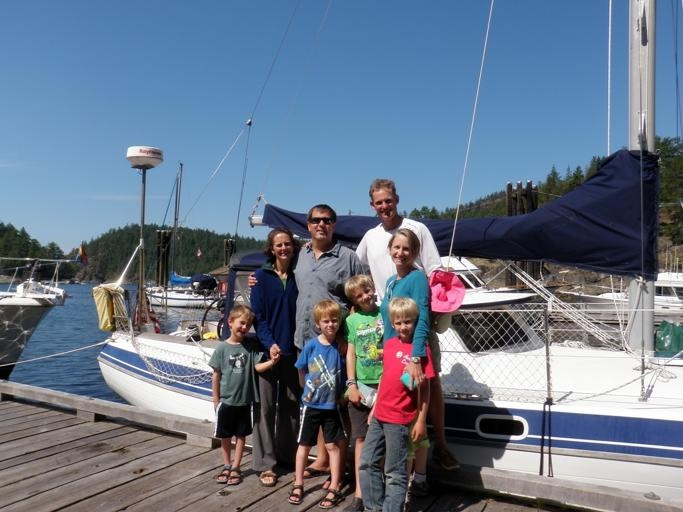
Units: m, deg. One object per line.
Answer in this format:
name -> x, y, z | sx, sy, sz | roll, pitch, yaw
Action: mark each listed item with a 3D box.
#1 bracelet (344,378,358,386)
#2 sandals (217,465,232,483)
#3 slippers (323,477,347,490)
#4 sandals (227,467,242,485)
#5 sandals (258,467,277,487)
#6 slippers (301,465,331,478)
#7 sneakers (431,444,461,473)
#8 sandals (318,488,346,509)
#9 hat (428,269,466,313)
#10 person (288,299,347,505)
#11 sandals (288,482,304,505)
bracelet -> 0.088, 1.048, 4.739 | 0.086, 0.060, 0.068 | -2, 9, 4
sandals -> -1.040, 1.943, 5.043 | 0.071, 0.089, 0.215 | 0, -10, 2
slippers -> -0.055, 1.969, 4.937 | 0.089, 0.123, 0.301 | -3, -19, 15
sandals -> -0.950, 1.931, 5.033 | 0.125, 0.125, 0.165 | -4, 9, -12
sandals -> -0.651, 1.946, 5.016 | 0.155, 0.130, 0.119 | -3, 9, -5
slippers -> -0.235, 1.958, 5.160 | 0.221, 0.064, 0.087 | 5, -6, -17
sneakers -> 0.916, 1.769, 5.020 | 0.120, 0.133, 0.317 | 0, -7, -24
sandals -> -0.078, 2.021, 4.759 | 0.091, 0.097, 0.257 | -4, -11, 17
hat -> 0.876, 0.269, 4.755 | 0.343, 0.112, 0.338 | -14, 43, -12
person -> -0.198, 1.221, 4.775 | 0.479, 1.650, 0.448 | -2, 8, 1
sandals -> -0.380, 1.998, 4.772 | 0.113, 0.105, 0.339 | 0, -7, -1
